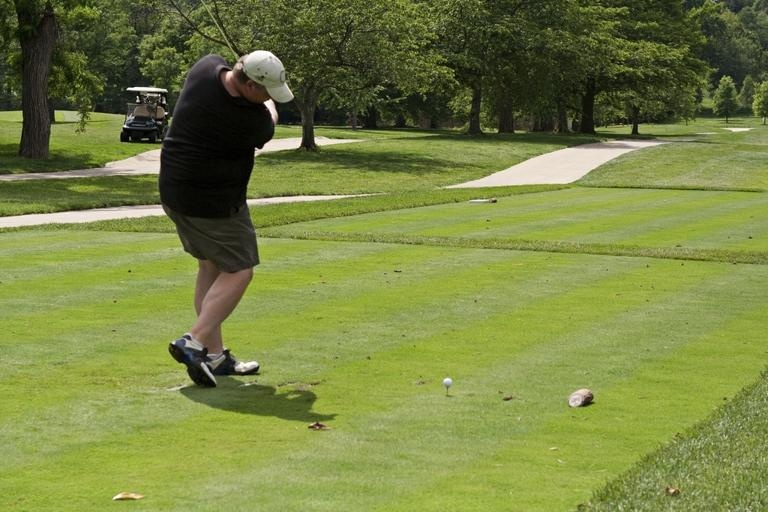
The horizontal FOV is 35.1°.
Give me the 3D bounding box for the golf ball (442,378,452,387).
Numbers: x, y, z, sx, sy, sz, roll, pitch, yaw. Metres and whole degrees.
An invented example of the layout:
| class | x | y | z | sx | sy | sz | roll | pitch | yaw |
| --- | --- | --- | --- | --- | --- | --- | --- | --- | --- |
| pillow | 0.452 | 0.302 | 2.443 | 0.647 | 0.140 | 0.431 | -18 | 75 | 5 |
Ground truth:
| class | x | y | z | sx | sy | sz | roll | pitch | yaw |
| --- | --- | --- | --- | --- | --- | --- | --- | --- | --- |
| golf ball | 0.848 | 1.609 | 15.729 | 0.125 | 0.108 | 0.108 | -2 | 12 | -14 |
